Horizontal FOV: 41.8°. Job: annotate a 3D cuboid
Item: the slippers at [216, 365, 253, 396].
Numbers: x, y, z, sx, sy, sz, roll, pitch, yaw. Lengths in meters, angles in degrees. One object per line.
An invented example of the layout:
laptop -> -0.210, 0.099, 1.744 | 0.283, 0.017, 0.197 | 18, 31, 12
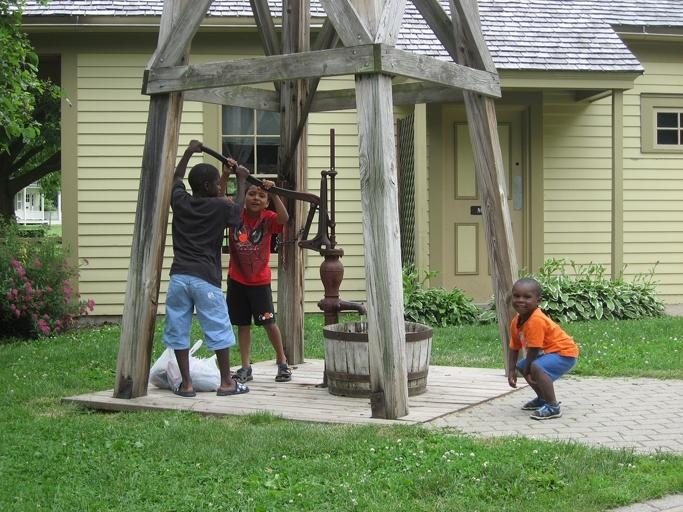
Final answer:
slippers -> -0.959, 1.117, 7.966 | 0.164, 0.236, 0.543 | -2, -7, 10

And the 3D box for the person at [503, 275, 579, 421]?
person -> 1.649, 0.752, 7.355 | 0.556, 1.135, 0.489 | -3, -4, 17

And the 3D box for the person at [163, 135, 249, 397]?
person -> -1.177, 0.113, 7.714 | 0.703, 2.198, 0.455 | -1, -4, -9
